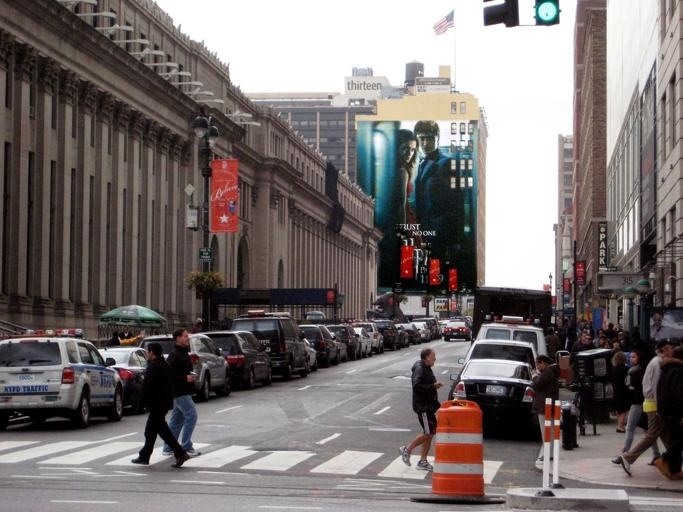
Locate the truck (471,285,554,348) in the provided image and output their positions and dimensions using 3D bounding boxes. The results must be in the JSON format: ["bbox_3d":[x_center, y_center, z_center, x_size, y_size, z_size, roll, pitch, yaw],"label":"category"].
[{"bbox_3d":[6.702,3.015,42.066,3.224,3.475,2.047,2,0,5],"label":"truck"}]

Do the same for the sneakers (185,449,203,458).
[{"bbox_3d":[-3.069,4.057,21.898,0.295,0.160,0.108,1,-1,4],"label":"sneakers"}]

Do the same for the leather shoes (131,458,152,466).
[{"bbox_3d":[-3.976,4.054,21.040,0.378,0.180,0.139,8,-1,24],"label":"leather shoes"}]

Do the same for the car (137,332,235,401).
[{"bbox_3d":[-4.638,3.446,33.335,1.718,1.875,3.854,-1,-2,14],"label":"car"}]

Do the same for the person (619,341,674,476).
[{"bbox_3d":[6.153,2.921,20.865,1.275,2.656,0.922,-2,5,-35],"label":"person"}]

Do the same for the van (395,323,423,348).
[{"bbox_3d":[4.887,5.794,78.184,1.245,1.116,3.049,-1,-13,5],"label":"van"}]

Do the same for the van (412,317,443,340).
[{"bbox_3d":[8.294,6.726,99.938,1.782,1.959,3.402,-1,3,17],"label":"van"}]

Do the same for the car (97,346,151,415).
[{"bbox_3d":[-6.096,3.437,29.913,1.437,1.515,3.788,-1,-3,11],"label":"car"}]

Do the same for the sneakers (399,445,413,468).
[{"bbox_3d":[1.286,3.999,21.396,0.184,0.501,0.157,-15,8,20],"label":"sneakers"}]

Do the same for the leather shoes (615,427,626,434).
[{"bbox_3d":[7.088,4.399,26.915,0.267,0.117,0.100,-3,-2,15],"label":"leather shoes"}]
